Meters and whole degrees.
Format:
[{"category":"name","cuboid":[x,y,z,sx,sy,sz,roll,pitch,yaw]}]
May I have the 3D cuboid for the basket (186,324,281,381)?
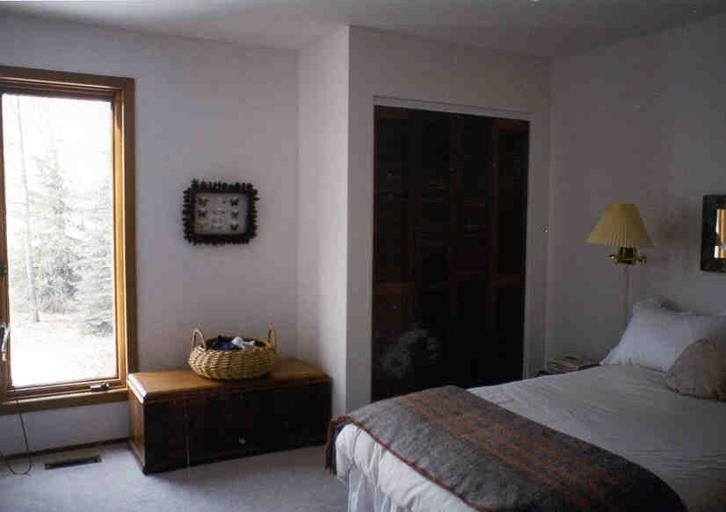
[{"category":"basket","cuboid":[-0.889,0.678,3.983,0.579,0.325,0.568,-1,-2,31]}]
